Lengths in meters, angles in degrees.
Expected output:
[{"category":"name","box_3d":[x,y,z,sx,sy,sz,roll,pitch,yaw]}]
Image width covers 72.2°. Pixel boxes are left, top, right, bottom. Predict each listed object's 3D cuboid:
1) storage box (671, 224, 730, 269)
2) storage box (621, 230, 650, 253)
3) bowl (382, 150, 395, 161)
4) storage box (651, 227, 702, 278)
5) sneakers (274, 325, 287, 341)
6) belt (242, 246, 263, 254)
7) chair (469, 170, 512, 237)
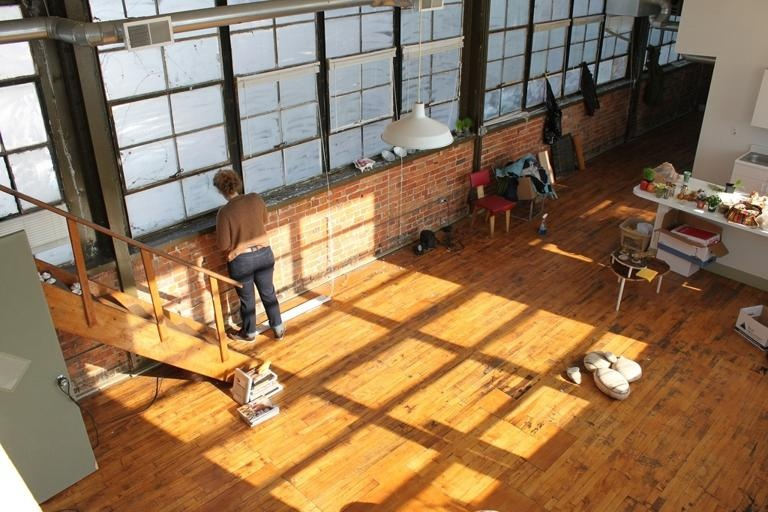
[{"category":"storage box","box_3d":[5.025,-0.252,8.307,0.697,0.443,0.666,-26,44,-30]},{"category":"storage box","box_3d":[4.126,-0.234,8.550,0.363,0.234,0.293,18,31,37]},{"category":"bowl","box_3d":[0.086,-1.665,8.652,0.230,0.127,0.234,0,35,0]},{"category":"storage box","box_3d":[4.696,-0.061,8.369,0.430,0.441,0.654,-28,45,-34]},{"category":"sneakers","box_3d":[-1.467,1.068,7.393,0.105,0.151,0.239,5,36,9]},{"category":"belt","box_3d":[-1.739,-0.089,6.883,0.139,0.033,0.148,-27,-8,23]},{"category":"chair","box_3d":[2.007,-0.982,9.862,0.779,1.171,0.781,-28,44,-26]}]
